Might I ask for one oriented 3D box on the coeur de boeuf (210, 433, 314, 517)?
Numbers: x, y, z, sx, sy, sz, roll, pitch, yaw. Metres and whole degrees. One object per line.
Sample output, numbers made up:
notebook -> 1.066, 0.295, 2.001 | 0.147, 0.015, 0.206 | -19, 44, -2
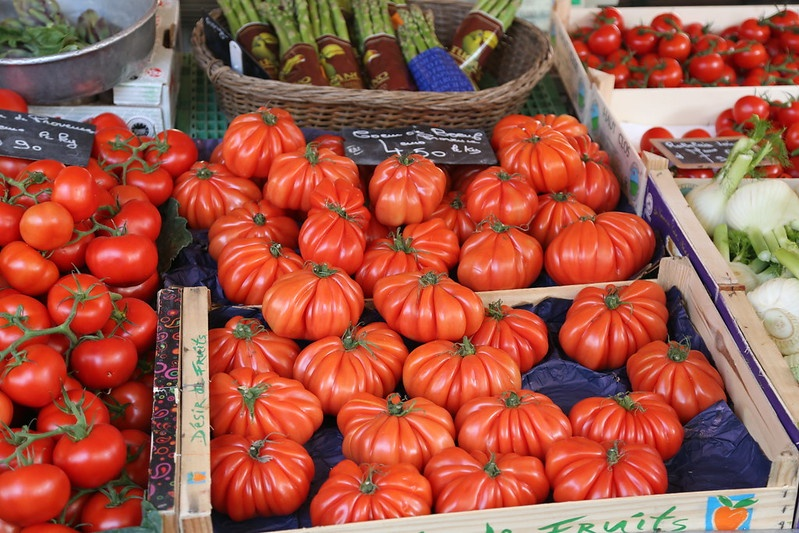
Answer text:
coeur de boeuf -> -0.566, 0.813, 2.328 | 0.365, 0.235, 0.339 | 14, 27, -3

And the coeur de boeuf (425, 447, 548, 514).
coeur de boeuf -> 0.308, 0.779, 2.208 | 0.288, 0.203, 0.287 | -1, 11, -11

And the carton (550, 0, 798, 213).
carton -> 1.487, -1.040, 4.116 | 1.752, 0.439, 1.730 | -3, 50, -3

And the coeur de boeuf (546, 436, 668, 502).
coeur de boeuf -> 0.751, 0.753, 2.250 | 0.296, 0.199, 0.286 | -11, 33, -15
